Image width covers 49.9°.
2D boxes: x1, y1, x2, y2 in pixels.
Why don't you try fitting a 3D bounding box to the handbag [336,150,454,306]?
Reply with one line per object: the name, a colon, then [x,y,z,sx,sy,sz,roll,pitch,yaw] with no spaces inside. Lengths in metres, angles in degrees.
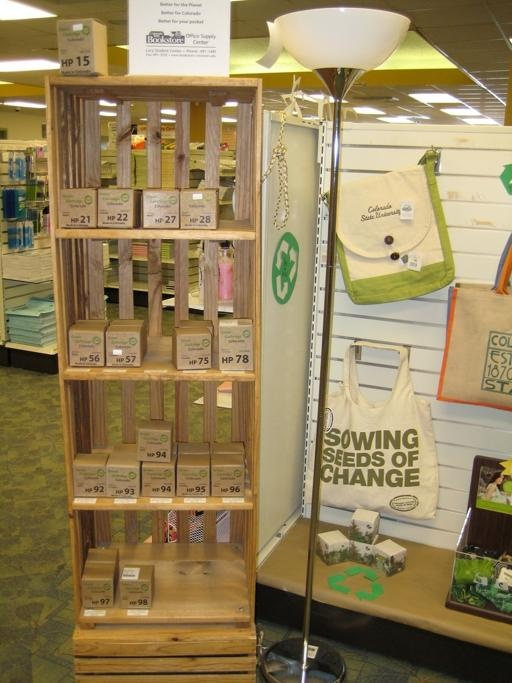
handbag: [0.517,-0.420,2.013,0.525,0.562,0.135,-11,9,17]
